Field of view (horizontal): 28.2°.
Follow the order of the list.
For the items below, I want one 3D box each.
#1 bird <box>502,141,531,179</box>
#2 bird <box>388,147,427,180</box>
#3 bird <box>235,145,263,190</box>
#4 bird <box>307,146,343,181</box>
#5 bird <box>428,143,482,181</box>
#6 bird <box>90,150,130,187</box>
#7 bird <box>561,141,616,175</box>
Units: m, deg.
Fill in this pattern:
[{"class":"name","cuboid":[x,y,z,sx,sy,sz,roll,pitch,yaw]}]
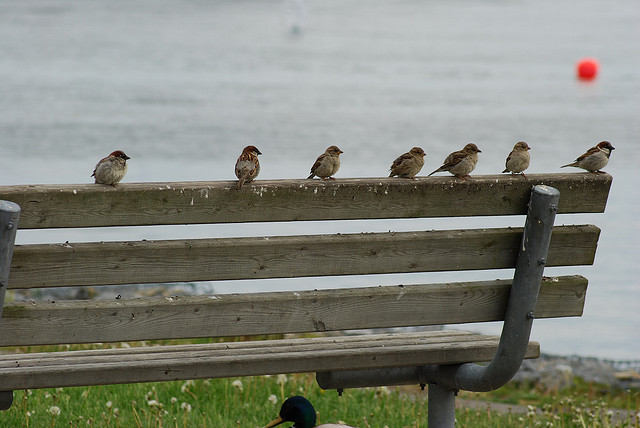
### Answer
[{"class":"bird","cuboid":[1.959,-0.562,12.562,0.232,0.367,0.380,1,11,-21]},{"class":"bird","cuboid":[0.864,-0.524,12.648,0.406,0.327,0.262,5,10,26]},{"class":"bird","cuboid":[-0.702,-0.473,11.982,0.238,0.320,0.757,8,13,5]},{"class":"bird","cuboid":[0.018,-0.511,12.693,0.451,0.337,0.264,1,2,33]},{"class":"bird","cuboid":[1.398,-0.542,12.818,0.660,0.324,0.238,0,11,26]},{"class":"bird","cuboid":[-1.909,-0.412,11.552,0.400,0.365,0.258,10,1,42]},{"class":"bird","cuboid":[2.769,-0.590,13.022,0.649,0.297,0.209,-1,4,41]}]
